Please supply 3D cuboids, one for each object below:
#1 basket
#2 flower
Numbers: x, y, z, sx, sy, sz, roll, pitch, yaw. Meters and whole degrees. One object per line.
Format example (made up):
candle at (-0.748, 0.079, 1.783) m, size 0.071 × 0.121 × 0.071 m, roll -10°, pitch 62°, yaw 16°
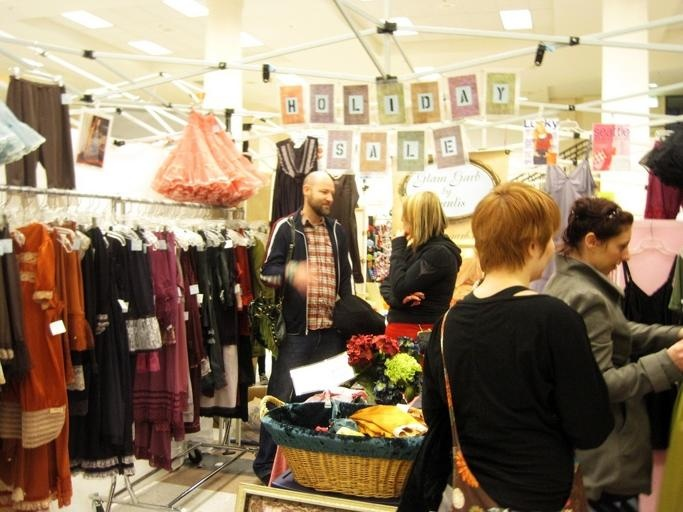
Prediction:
basket at (-0.011, 0.730, 2.331) m, size 0.486 × 0.189 × 0.363 m, roll 1°, pitch -13°, yaw 24°
flower at (0.216, 0.517, 2.847) m, size 0.358 × 0.343 × 0.307 m, roll -4°, pitch -10°, yaw -8°
